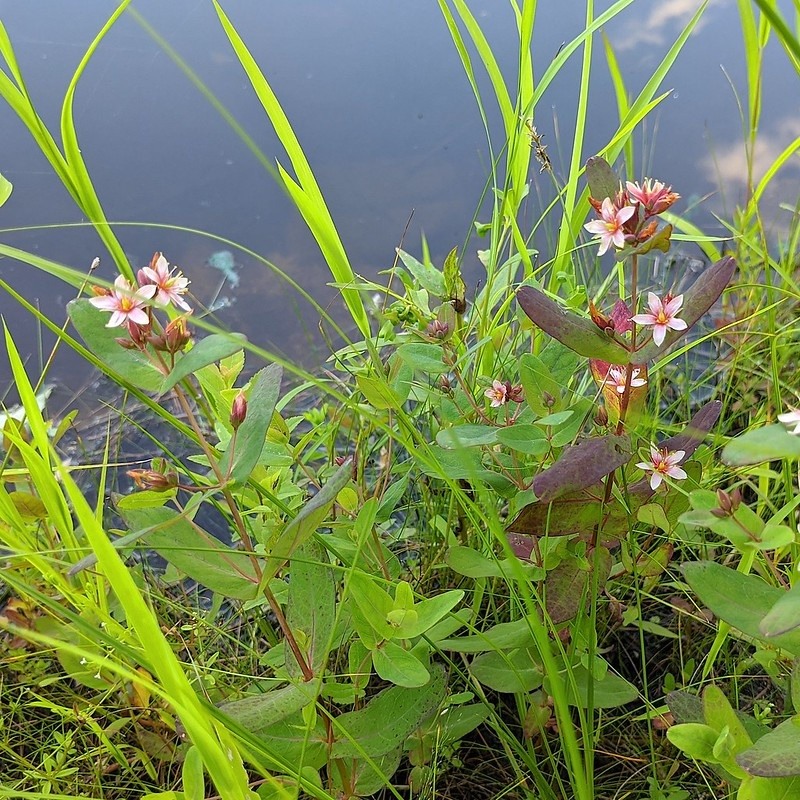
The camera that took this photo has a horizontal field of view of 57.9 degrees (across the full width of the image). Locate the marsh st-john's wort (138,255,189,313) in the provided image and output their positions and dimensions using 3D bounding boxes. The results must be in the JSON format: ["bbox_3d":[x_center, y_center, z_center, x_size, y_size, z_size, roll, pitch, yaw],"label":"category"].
[{"bbox_3d":[-0.403,-0.210,1.240,0.082,0.097,0.053,3,80,27],"label":"marsh st-john's wort"}]

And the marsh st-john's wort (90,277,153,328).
[{"bbox_3d":[-0.445,-0.162,1.190,0.075,0.086,0.026,22,96,17],"label":"marsh st-john's wort"}]

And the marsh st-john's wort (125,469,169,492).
[{"bbox_3d":[-0.421,0.136,1.221,0.027,0.070,0.052,-15,76,26],"label":"marsh st-john's wort"}]
